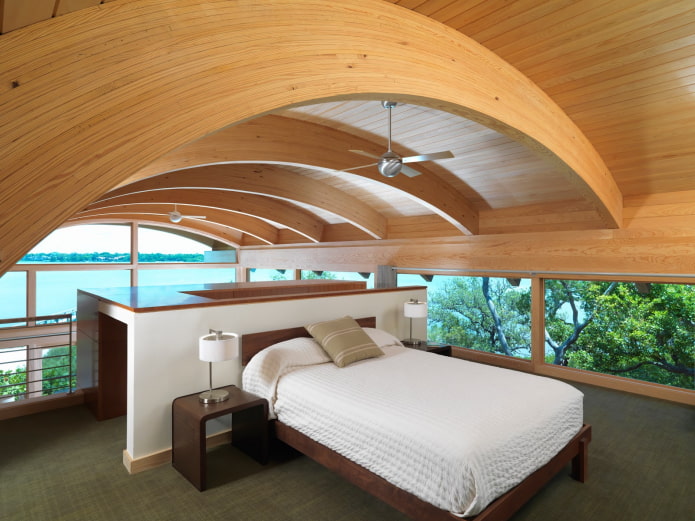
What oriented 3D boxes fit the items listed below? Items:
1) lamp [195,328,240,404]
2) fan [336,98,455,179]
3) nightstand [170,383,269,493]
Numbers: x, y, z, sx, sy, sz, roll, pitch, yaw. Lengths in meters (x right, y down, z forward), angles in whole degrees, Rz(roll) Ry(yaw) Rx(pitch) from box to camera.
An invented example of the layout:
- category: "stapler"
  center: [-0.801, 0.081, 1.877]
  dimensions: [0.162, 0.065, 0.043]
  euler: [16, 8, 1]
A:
- category: "lamp"
  center: [-1.076, 0.887, 3.939]
  dimensions: [0.321, 0.598, 0.494]
  euler: [-2, 9, -16]
- category: "fan"
  center: [0.590, -1.169, 4.852]
  dimensions: [1.050, 0.533, 0.965]
  euler: [-6, 9, -33]
- category: "nightstand"
  center: [-0.998, 1.355, 3.931]
  dimensions: [0.922, 0.705, 0.694]
  euler: [-1, 0, -42]
